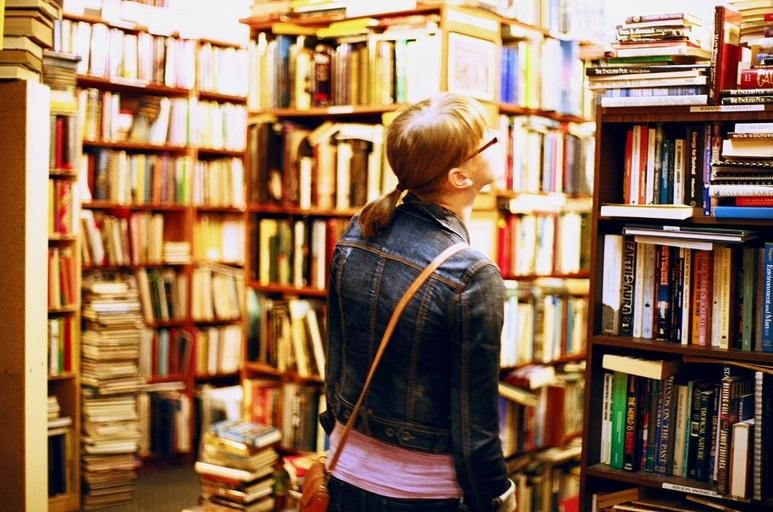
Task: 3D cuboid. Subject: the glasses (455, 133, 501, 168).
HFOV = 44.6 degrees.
[{"bbox_3d":[0.361,-0.412,3.622,0.035,0.120,0.114,40,-7,-19],"label":"glasses"}]
